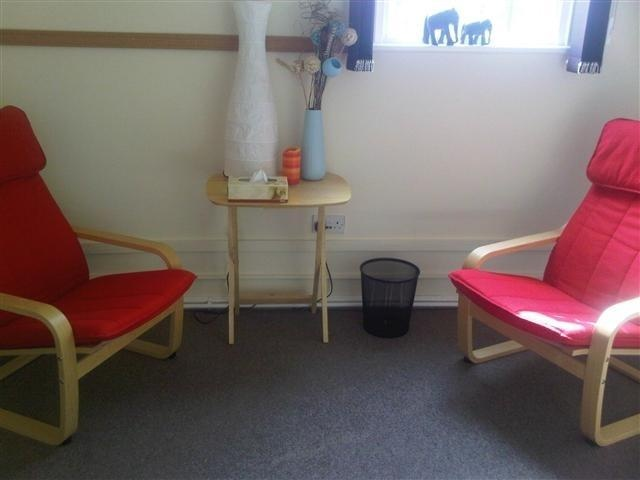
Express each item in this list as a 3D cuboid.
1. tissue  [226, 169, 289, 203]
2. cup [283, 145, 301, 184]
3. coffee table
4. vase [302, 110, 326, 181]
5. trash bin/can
[{"bbox_3d":[-0.299,-0.258,2.500,0.291,0.107,0.173,-4,25,-11],"label":"tissue "},{"bbox_3d":[-0.144,-0.377,2.668,0.092,0.164,0.081,-4,25,-12],"label":"cup"},{"bbox_3d":[-0.219,0.078,2.804,0.719,0.812,0.493,0,24,-3],"label":"coffee table"},{"bbox_3d":[-0.034,-0.495,2.705,0.123,0.358,0.085,1,24,0],"label":"vase"},{"bbox_3d":[0.353,0.288,2.958,0.383,0.422,0.398,2,20,6],"label":"trash bin/can"}]
